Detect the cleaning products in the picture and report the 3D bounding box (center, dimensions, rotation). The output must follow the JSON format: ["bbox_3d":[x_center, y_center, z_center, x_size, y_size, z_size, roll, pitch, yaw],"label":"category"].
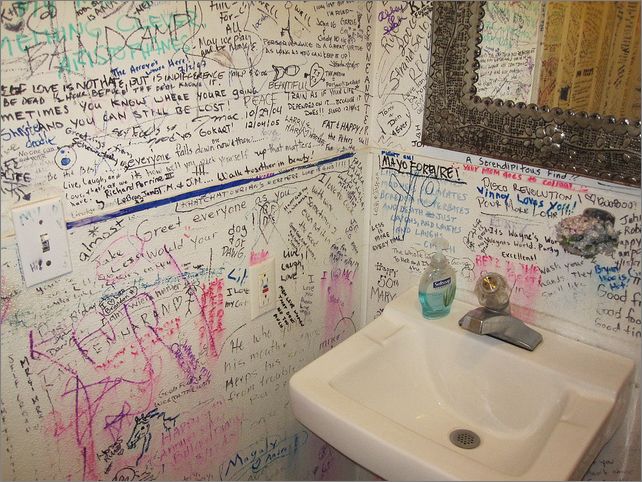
[{"bbox_3d":[0.364,0.114,1.489,0.142,0.265,0.070,-14,22,-21],"label":"cleaning products"}]

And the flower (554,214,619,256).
[{"bbox_3d":[0.713,-0.022,1.305,0.170,0.099,0.146,12,23,27],"label":"flower"}]

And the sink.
[{"bbox_3d":[0.452,0.375,1.628,0.816,0.286,0.685,18,29,34],"label":"sink"}]

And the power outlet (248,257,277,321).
[{"bbox_3d":[-0.178,0.141,1.456,0.019,0.179,0.098,13,21,36],"label":"power outlet"}]

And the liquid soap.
[{"bbox_3d":[0.357,0.131,1.471,0.087,0.294,0.165,9,21,20],"label":"liquid soap"}]
